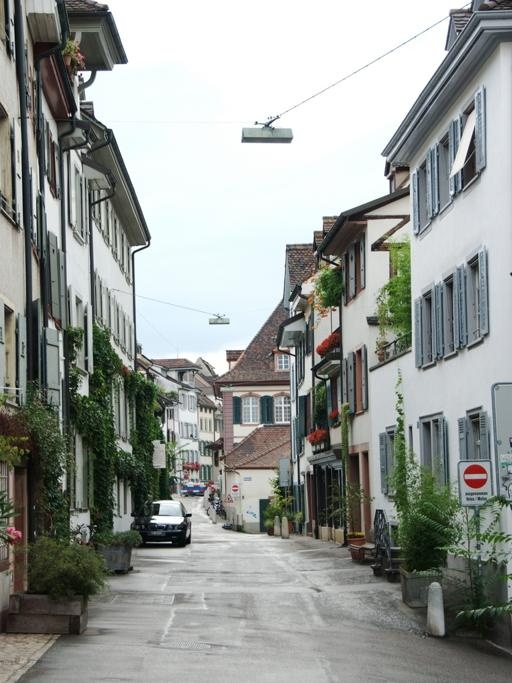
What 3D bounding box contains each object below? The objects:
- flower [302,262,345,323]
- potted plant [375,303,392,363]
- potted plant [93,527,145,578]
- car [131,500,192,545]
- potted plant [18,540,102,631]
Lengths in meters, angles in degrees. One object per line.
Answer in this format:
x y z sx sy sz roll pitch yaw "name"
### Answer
1.936 -1.503 29.320 0.854 1.296 1.463 1 -40 0 "flower"
2.977 -0.305 24.327 0.442 1.466 0.983 -1 -14 7 "potted plant"
-2.458 3.768 19.122 0.703 0.892 0.893 -2 -7 -4 "potted plant"
-2.545 5.170 30.160 1.061 0.965 2.597 -1 -11 1 "car"
-2.025 2.583 11.154 0.804 1.109 0.776 2 -14 2 "potted plant"
